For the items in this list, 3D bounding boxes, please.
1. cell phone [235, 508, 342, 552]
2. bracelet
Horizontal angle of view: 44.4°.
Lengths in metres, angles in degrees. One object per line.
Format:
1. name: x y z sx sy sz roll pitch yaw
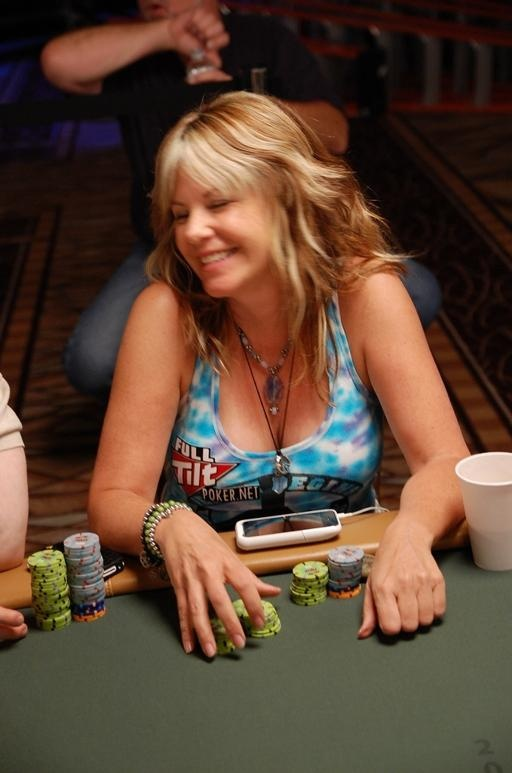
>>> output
1. cell phone: 0.053 0.219 1.002 0.133 0.028 0.068 -6 4 -7
2. bracelet: -0.142 0.227 0.968 0.077 0.047 0.088 14 70 -12
